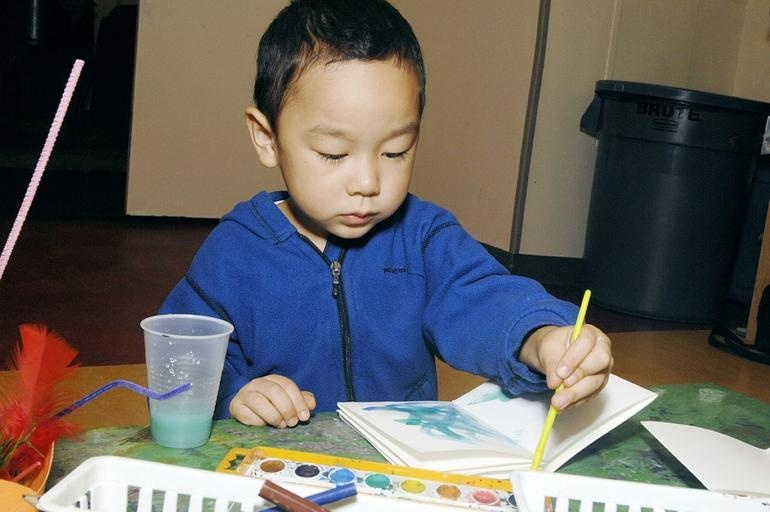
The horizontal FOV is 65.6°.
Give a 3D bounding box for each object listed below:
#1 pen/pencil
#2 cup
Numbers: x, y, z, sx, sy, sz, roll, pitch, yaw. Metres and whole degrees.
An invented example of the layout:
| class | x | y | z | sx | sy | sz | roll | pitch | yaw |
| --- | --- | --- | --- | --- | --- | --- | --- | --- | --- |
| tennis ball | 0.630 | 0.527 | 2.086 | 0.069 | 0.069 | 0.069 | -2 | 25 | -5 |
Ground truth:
| class | x | y | z | sx | sy | sz | roll | pitch | yaw |
| --- | --- | --- | --- | --- | --- | --- | --- | --- | --- |
| pen/pencil | 0.227 | 0.173 | 0.780 | 0.019 | 0.248 | 0.014 | 15 | -19 | 16 |
| cup | -0.250 | 0.157 | 0.724 | 0.106 | 0.147 | 0.130 | 7 | 13 | 7 |
